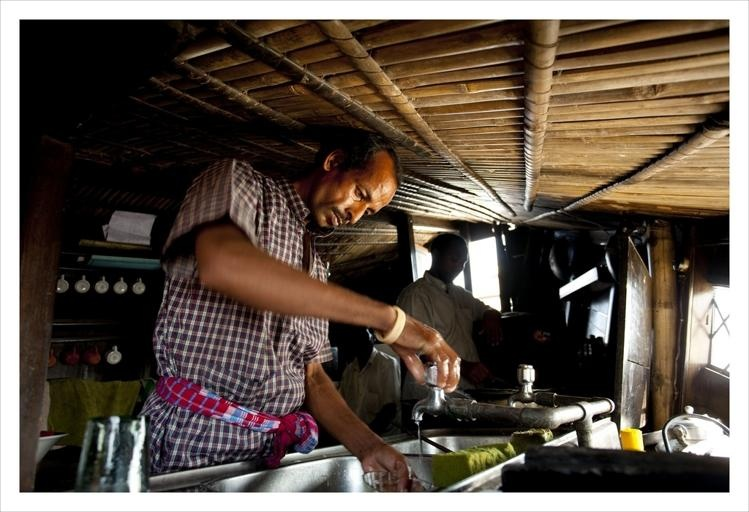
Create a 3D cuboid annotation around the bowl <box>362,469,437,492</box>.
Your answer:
[{"bbox_3d":[0.091,0.831,1.882,0.251,0.043,0.176,3,-7,8],"label":"bowl"}]

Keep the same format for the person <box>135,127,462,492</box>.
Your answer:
[{"bbox_3d":[-0.335,0.147,1.980,0.969,1.381,0.829,15,-18,-41],"label":"person"}]

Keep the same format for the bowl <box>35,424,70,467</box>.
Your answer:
[{"bbox_3d":[-1.641,0.952,2.569,0.088,0.187,0.624,11,-14,-29],"label":"bowl"}]
